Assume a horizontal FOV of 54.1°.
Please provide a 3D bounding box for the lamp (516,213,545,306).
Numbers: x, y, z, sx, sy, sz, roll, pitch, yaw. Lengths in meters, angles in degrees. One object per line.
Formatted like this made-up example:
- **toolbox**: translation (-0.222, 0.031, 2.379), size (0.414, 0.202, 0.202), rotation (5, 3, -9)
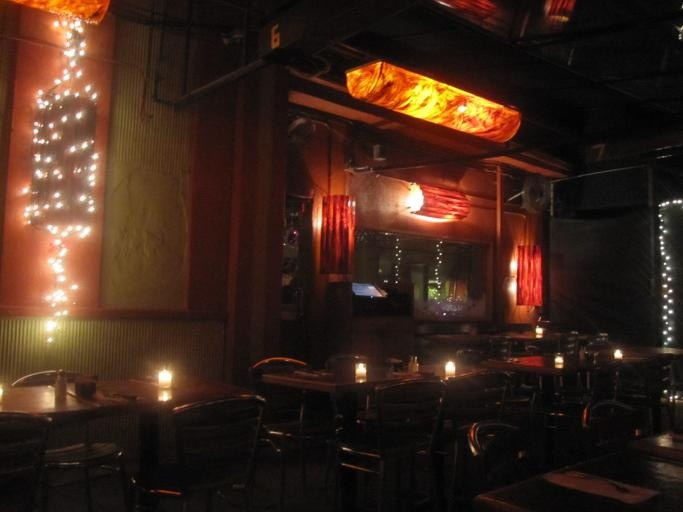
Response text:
- **lamp**: translation (3.278, 0.033, 11.539), size (0.422, 1.675, 0.734), rotation (-6, -11, 34)

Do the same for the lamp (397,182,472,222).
- **lamp**: translation (1.464, -0.790, 10.185), size (0.930, 0.483, 0.303), rotation (7, -4, -35)

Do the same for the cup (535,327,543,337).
- **cup**: translation (2.997, 1.150, 10.085), size (0.147, 0.157, 0.142), rotation (0, -2, 0)

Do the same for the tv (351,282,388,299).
- **tv**: translation (0.321, 0.440, 8.582), size (0.334, 0.222, 0.643), rotation (-7, -11, 40)

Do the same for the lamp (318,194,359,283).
- **lamp**: translation (-0.055, -0.267, 8.404), size (0.402, 0.988, 0.133), rotation (-1, -10, 12)

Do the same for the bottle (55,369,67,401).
- **bottle**: translation (-1.936, 0.898, 4.626), size (0.076, 0.206, 0.251), rotation (4, -9, -21)
